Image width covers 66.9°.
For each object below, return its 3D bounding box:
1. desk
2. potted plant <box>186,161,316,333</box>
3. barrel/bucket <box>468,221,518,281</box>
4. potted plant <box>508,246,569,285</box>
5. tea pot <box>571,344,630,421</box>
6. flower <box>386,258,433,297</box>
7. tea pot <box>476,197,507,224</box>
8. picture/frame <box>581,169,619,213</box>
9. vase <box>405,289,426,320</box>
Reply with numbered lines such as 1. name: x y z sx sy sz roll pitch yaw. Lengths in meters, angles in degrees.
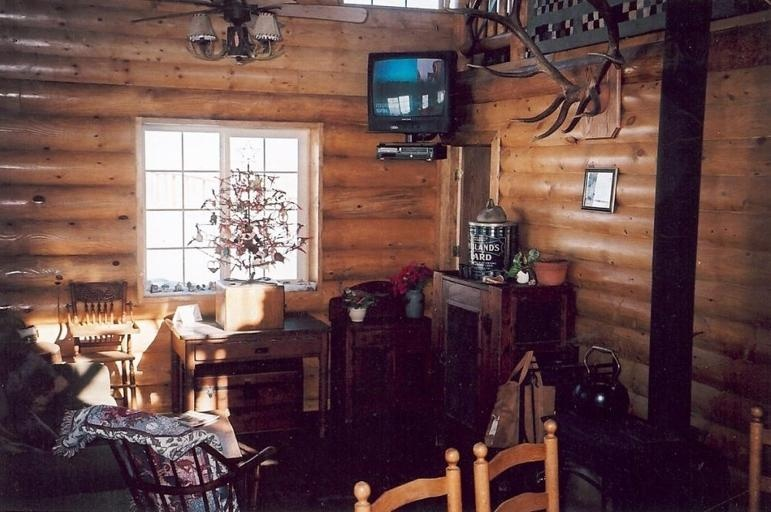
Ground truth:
1. desk: -1.364 1.079 6.021 2.068 1.385 1.154 -1 2 -20
2. potted plant: -1.314 -0.134 5.967 1.186 1.601 1.114 -5 7 -16
3. barrel/bucket: 0.986 -0.076 5.713 0.560 0.514 0.545 0 5 0
4. potted plant: 1.395 0.083 5.315 0.385 0.259 0.425 1 2 -40
5. tea pot: 1.810 0.970 4.533 0.497 0.626 0.722 -2 -7 34
6. flower: 0.267 0.228 6.324 0.416 0.341 0.421 3 6 44
7. tea pot: 1.008 -0.417 5.499 0.294 0.187 0.275 -1 1 0
8. picture/frame: 1.828 -0.553 4.962 0.047 0.377 0.422 1 4 -22
9. vase: 0.309 0.518 6.448 0.311 0.329 0.272 2 -1 -25
